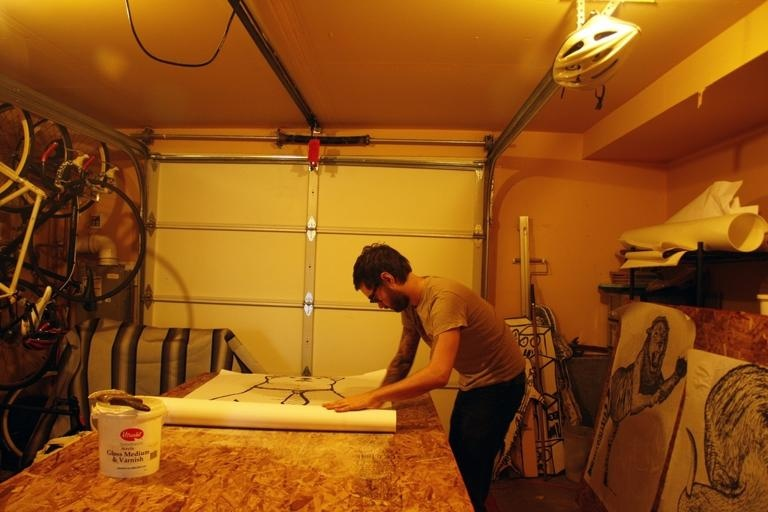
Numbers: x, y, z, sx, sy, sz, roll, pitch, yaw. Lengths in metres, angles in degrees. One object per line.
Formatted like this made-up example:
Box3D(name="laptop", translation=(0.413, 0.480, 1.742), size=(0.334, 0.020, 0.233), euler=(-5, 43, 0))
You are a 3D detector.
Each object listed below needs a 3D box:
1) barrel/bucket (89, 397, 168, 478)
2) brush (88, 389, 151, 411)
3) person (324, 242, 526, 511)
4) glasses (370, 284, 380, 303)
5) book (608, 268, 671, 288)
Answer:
Box3D(name="barrel/bucket", translation=(-1.586, 1.113, 3.553), size=(0.466, 0.419, 0.474), euler=(1, -4, 0))
Box3D(name="brush", translation=(-1.556, 0.859, 3.395), size=(0.268, 0.056, 0.155), euler=(16, -8, -1))
Box3D(name="person", translation=(0.397, 0.852, 3.966), size=(1.251, 1.862, 0.469), euler=(1, -4, 0))
Box3D(name="glasses", translation=(-0.059, 0.274, 4.077), size=(0.058, 0.113, 0.080), euler=(2, 10, -17))
Box3D(name="book", translation=(2.296, 0.199, 5.216), size=(0.191, 0.169, 0.586), euler=(4, -6, -32))
